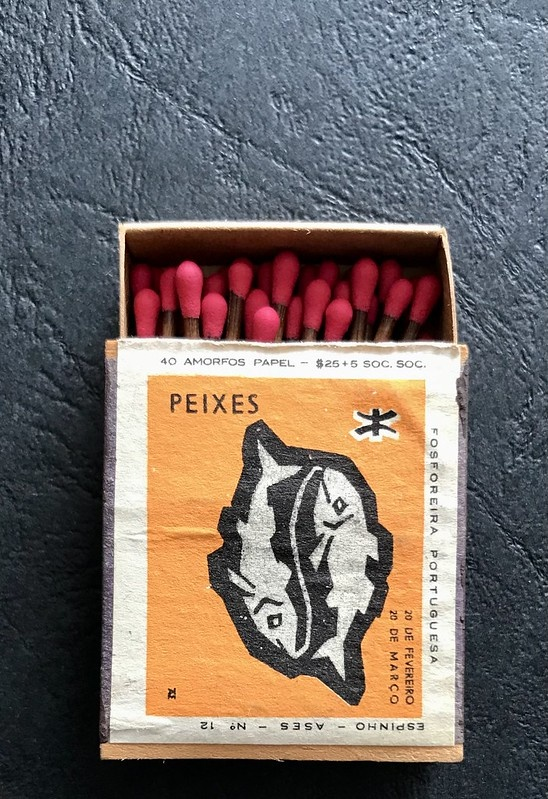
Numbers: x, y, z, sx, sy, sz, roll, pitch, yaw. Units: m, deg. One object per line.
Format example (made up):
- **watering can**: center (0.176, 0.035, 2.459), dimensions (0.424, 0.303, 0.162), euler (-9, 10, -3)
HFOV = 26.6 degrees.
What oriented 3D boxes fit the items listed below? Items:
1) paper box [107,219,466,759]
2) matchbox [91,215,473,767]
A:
- **paper box**: center (-0.014, 0.060, 1.607), dimensions (0.555, 0.366, 0.647), euler (-3, 102, -7)
- **matchbox**: center (0.011, 0.101, 1.626), dimensions (0.517, 0.192, 0.675), euler (-1, 89, -1)
